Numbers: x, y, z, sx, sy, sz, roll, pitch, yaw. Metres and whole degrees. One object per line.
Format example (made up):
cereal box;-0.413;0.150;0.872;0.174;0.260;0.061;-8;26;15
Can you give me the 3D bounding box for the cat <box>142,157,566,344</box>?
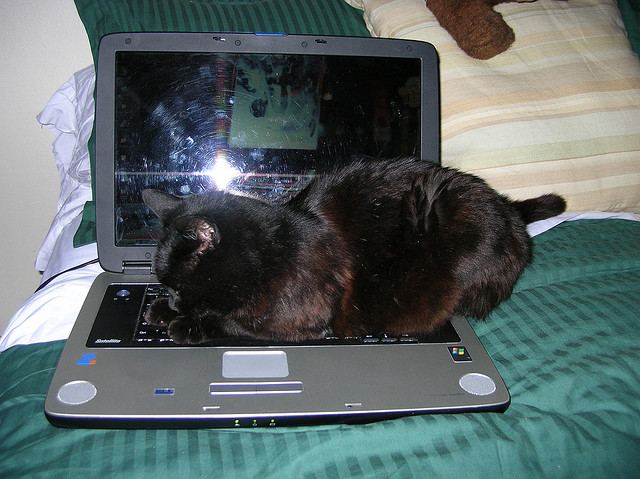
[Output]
cat;0.099;0.054;1.251;0.914;0.312;0.401;-11;35;-10
